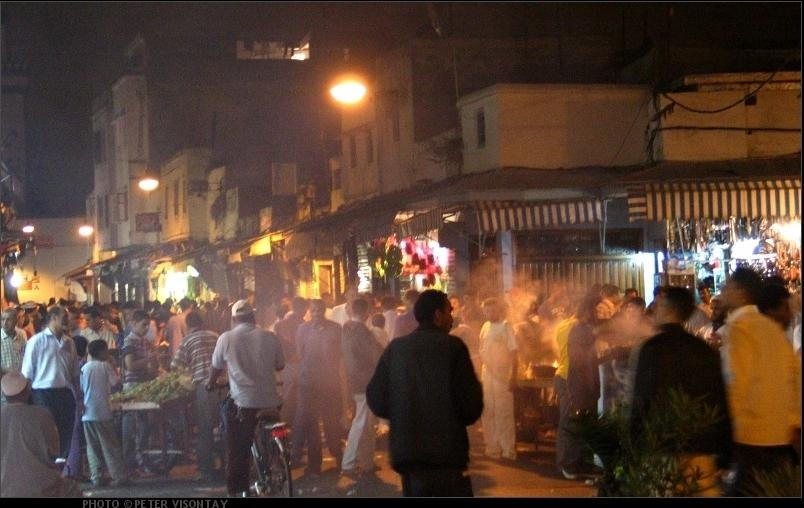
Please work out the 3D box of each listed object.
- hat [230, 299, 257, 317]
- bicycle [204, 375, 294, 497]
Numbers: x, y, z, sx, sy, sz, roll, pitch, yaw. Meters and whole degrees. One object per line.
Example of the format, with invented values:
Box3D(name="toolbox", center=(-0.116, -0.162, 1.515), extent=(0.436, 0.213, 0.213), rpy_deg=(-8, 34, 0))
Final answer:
Box3D(name="hat", center=(-2.790, 0.956, 16.858), extent=(0.338, 0.313, 0.446), rpy_deg=(0, -7, -14))
Box3D(name="bicycle", center=(-2.590, 3.485, 16.711), extent=(1.116, 1.261, 2.214), rpy_deg=(-1, -1, -19))
